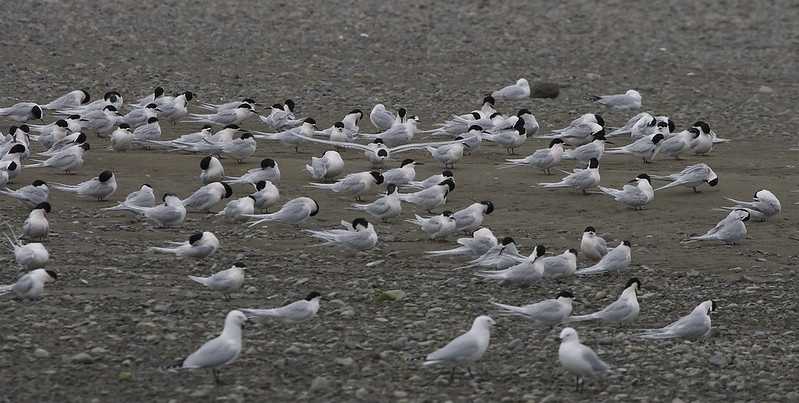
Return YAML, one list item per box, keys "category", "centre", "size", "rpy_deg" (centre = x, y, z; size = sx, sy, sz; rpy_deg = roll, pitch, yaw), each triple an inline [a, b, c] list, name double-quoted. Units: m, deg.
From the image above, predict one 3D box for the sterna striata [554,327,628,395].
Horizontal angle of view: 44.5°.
- category: "sterna striata"
  centre: [3.805, 3.178, 19.582]
  size: [1.154, 1.285, 0.513]
  rpy_deg: [3, 23, 6]

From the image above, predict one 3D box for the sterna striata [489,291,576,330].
- category: "sterna striata"
  centre: [2.710, 2.309, 21.081]
  size: [2.577, 0.604, 0.627]
  rpy_deg: [2, -3, -2]

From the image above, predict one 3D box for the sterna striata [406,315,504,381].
- category: "sterna striata"
  centre: [1.210, 2.942, 20.166]
  size: [2.028, 1.185, 1.546]
  rpy_deg: [1, 0, 22]

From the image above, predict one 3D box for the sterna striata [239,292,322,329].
- category: "sterna striata"
  centre: [-2.447, 2.292, 20.781]
  size: [1.468, 0.772, 0.866]
  rpy_deg: [1, 19, 1]

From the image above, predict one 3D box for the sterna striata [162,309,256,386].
- category: "sterna striata"
  centre: [-3.687, 2.951, 19.736]
  size: [1.501, 1.406, 0.759]
  rpy_deg: [-10, 25, -29]
